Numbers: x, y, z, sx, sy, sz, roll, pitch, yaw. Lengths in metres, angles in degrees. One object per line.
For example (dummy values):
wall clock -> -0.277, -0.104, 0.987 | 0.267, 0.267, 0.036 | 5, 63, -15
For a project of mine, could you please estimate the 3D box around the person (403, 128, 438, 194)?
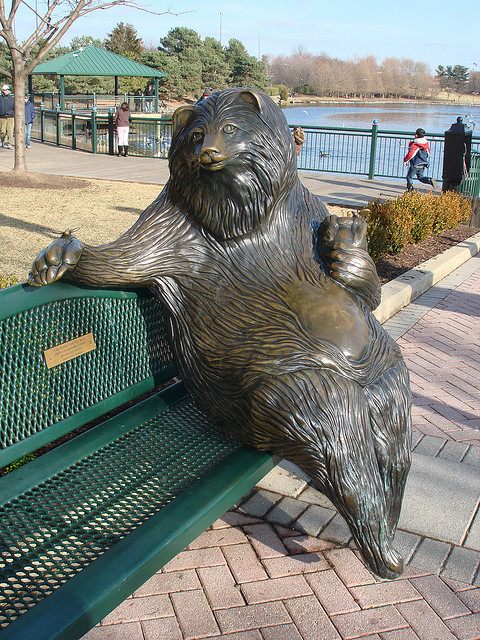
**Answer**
person -> 3.614, -3.254, 12.007 | 0.624, 1.240, 1.283 | 8, 17, 22

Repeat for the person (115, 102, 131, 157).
person -> -3.628, -5.820, 18.299 | 0.437, 1.523, 2.054 | -2, 15, -12

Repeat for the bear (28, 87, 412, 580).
bear -> 0.025, 0.006, 1.770 | 1.003, 1.314, 0.516 | 5, 16, 12
